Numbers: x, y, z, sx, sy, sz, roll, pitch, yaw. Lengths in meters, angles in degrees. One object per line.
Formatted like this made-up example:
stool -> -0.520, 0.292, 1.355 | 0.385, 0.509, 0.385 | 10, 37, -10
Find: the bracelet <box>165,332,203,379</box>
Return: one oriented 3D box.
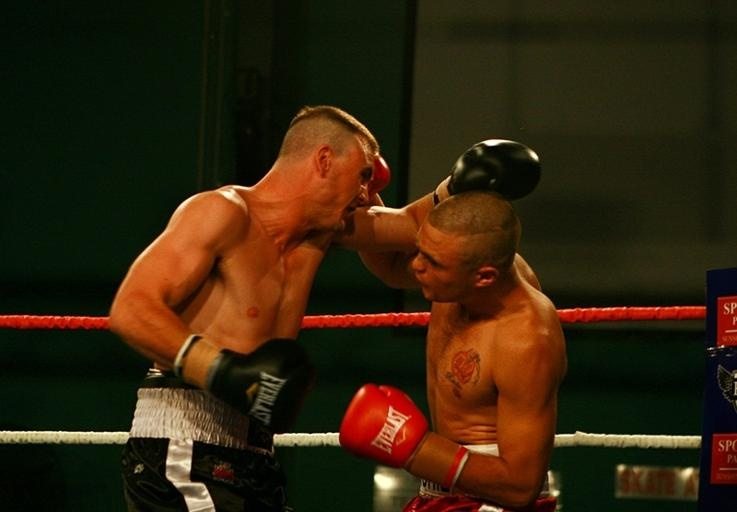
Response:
bracelet -> -0.833, 0.457, 3.919 | 0.121, 0.195, 0.045 | 5, 3, -14
